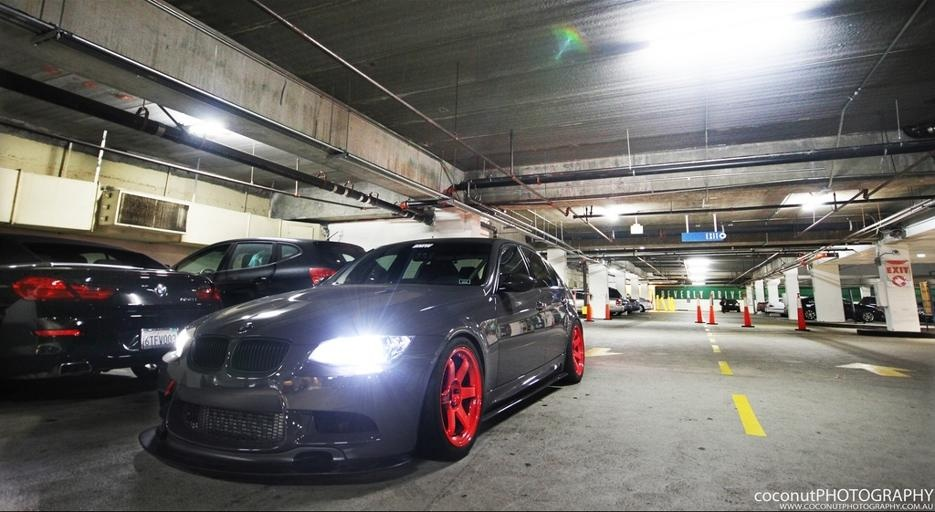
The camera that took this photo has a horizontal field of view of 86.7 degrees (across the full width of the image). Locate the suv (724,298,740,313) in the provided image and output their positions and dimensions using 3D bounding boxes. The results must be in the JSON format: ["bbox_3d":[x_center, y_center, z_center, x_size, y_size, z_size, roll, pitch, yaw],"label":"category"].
[{"bbox_3d":[25.904,4.803,48.485,1.197,0.766,2.087,-5,-11,35],"label":"suv"}]
